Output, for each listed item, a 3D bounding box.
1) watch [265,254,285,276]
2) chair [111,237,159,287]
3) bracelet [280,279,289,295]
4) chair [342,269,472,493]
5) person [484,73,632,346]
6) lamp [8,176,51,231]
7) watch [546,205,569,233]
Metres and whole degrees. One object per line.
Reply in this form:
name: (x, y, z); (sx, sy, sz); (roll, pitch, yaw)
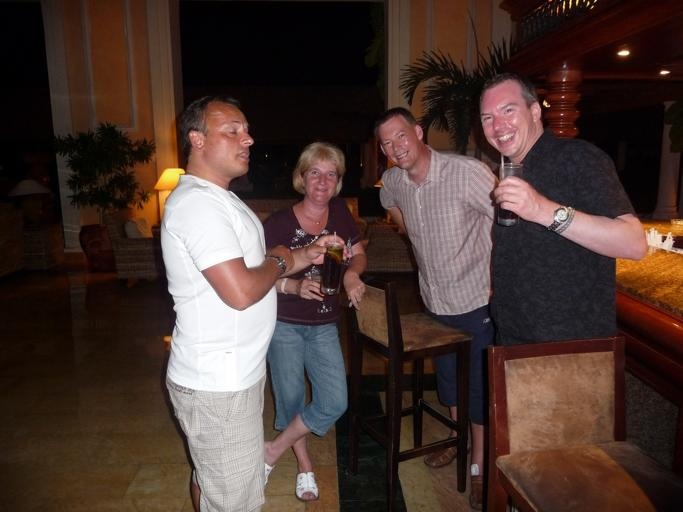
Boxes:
watch: (-0.313, 0.046, 2.564); (0.086, 0.032, 0.083); (21, 35, -49)
chair: (-2.792, 0.016, 7.686); (0.723, 0.737, 0.545); (-1, 12, -8)
bracelet: (-0.334, 0.171, 3.040); (0.037, 0.070, 0.059); (4, 30, -11)
chair: (0.378, 0.743, 3.238); (0.628, 1.322, 0.564); (-7, 12, -21)
person: (0.995, -0.183, 2.519); (0.648, 1.365, 0.603); (-1, 11, 7)
lamp: (-5.323, -0.920, 9.237); (0.512, 0.776, 0.867); (-6, 12, -18)
watch: (0.897, -0.158, 2.242); (0.035, 0.097, 0.086); (21, -32, -20)
